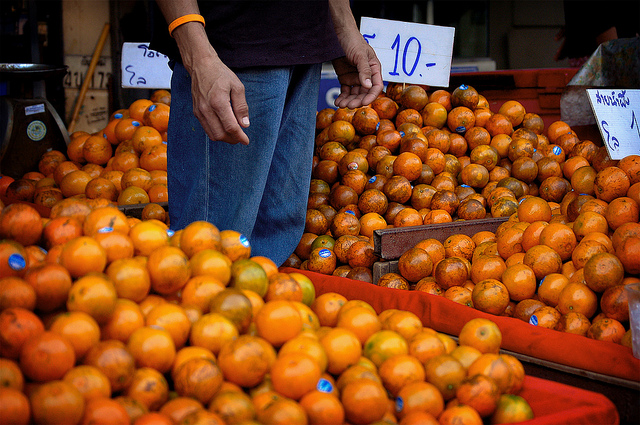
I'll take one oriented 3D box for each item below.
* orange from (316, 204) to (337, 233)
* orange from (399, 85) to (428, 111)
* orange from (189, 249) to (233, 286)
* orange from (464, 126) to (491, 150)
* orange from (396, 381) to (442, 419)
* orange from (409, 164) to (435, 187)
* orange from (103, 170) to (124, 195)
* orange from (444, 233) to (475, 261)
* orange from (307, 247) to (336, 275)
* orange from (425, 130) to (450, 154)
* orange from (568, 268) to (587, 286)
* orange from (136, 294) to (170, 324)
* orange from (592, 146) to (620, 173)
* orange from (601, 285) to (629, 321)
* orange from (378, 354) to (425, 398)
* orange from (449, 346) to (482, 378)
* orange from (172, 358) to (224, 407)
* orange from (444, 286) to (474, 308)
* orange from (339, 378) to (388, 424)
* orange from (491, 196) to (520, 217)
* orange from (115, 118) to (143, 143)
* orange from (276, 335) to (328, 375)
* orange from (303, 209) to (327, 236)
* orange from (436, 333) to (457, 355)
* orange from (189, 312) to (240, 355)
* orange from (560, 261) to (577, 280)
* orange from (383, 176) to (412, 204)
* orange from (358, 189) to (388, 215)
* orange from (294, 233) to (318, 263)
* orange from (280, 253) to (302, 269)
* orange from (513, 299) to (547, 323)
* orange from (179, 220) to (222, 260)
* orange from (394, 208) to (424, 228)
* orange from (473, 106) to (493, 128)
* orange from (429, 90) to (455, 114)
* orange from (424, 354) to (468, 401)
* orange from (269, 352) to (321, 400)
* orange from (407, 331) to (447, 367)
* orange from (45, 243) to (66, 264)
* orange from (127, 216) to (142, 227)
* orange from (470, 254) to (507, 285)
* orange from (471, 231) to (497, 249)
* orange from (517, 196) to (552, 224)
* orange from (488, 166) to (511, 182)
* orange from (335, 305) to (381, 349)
[{"bbox_3d":[0.047,0.021,3.551,0.131,0.168,0.136,1,-4,5],"label":"orange"},{"bbox_3d":[0.750,-0.913,4.335,0.209,0.211,0.194,-4,5,-30],"label":"orange"},{"bbox_3d":[-0.410,0.199,2.084,0.128,0.136,0.156,4,-30,18],"label":"orange"},{"bbox_3d":[1.224,-0.585,4.098,0.165,0.180,0.186,-2,45,19],"label":"orange"},{"bbox_3d":[0.321,0.604,1.721,0.115,0.122,0.119,-2,11,-7],"label":"orange"},{"bbox_3d":[0.742,-0.257,3.838,0.157,0.166,0.163,-2,0,18],"label":"orange"},{"bbox_3d":[-1.470,-0.216,3.835,0.148,0.179,0.147,-18,5,-32],"label":"orange"},{"bbox_3d":[0.817,0.217,3.154,0.143,0.157,0.148,14,-20,-22],"label":"orange"},{"bbox_3d":[0.012,0.290,3.261,0.178,0.138,0.173,8,19,5],"label":"orange"},{"bbox_3d":[0.898,-0.544,4.083,0.160,0.179,0.155,-3,28,-16],"label":"orange"},{"bbox_3d":[1.291,0.325,2.644,0.068,0.072,0.088,0,50,3],"label":"orange"},{"bbox_3d":[-0.620,0.344,1.934,0.097,0.086,0.082,-1,7,-32],"label":"orange"},{"bbox_3d":[1.827,-0.349,3.424,0.132,0.169,0.134,-2,-1,-9],"label":"orange"},{"bbox_3d":[1.389,0.429,2.471,0.144,0.178,0.147,4,19,31],"label":"orange"},{"bbox_3d":[0.292,0.590,1.842,0.149,0.186,0.156,2,-11,23],"label":"orange"},{"bbox_3d":[0.522,0.522,1.873,0.083,0.102,0.088,-4,51,8],"label":"orange"},{"bbox_3d":[-0.397,0.551,1.763,0.147,0.138,0.148,16,41,-27],"label":"orange"},{"bbox_3d":[0.734,0.436,2.766,0.100,0.110,0.110,-1,2,-12],"label":"orange"},{"bbox_3d":[0.143,0.599,1.743,0.137,0.141,0.130,-1,7,2],"label":"orange"},{"bbox_3d":[1.222,-0.033,3.484,0.137,0.137,0.140,-34,24,37],"label":"orange"},{"bbox_3d":[-1.548,-0.680,4.280,0.181,0.195,0.196,-31,18,-10],"label":"orange"},{"bbox_3d":[-0.058,0.509,1.846,0.140,0.150,0.144,10,-16,-5],"label":"orange"},{"bbox_3d":[-0.030,0.070,3.475,0.146,0.181,0.148,0,2,35],"label":"orange"},{"bbox_3d":[0.498,0.499,2.039,0.072,0.090,0.075,-2,4,-11],"label":"orange"},{"bbox_3d":[-0.366,0.415,1.838,0.162,0.143,0.143,12,-27,-9],"label":"orange"},{"bbox_3d":[1.289,0.307,2.745,0.073,0.041,0.074,-33,36,13],"label":"orange"},{"bbox_3d":[0.527,-0.151,3.714,0.176,0.216,0.175,-21,19,0],"label":"orange"},{"bbox_3d":[0.364,-0.074,3.524,0.162,0.166,0.158,-3,6,-2],"label":"orange"},{"bbox_3d":[-0.085,0.218,3.450,0.158,0.201,0.162,6,8,1],"label":"orange"},{"bbox_3d":[-0.178,0.318,3.393,0.099,0.058,0.085,-27,-25,32],"label":"orange"},{"bbox_3d":[1.049,0.516,2.635,0.124,0.109,0.110,-19,-21,29],"label":"orange"},{"bbox_3d":[-0.481,0.088,2.122,0.165,0.151,0.144,-3,6,-18],"label":"orange"},{"bbox_3d":[0.574,0.041,3.437,0.130,0.140,0.144,-12,33,39],"label":"orange"},{"bbox_3d":[1.296,-0.763,4.284,0.158,0.202,0.162,-3,2,-6],"label":"orange"},{"bbox_3d":[1.021,-0.942,4.371,0.187,0.199,0.231,4,34,26],"label":"orange"},{"bbox_3d":[0.408,0.578,1.859,0.136,0.137,0.163,6,46,-14],"label":"orange"},{"bbox_3d":[-0.079,0.529,1.771,0.136,0.115,0.149,-5,4,-6],"label":"orange"},{"bbox_3d":[0.388,0.476,1.966,0.129,0.163,0.136,-6,19,24],"label":"orange"},{"bbox_3d":[-1.001,0.155,2.010,0.075,0.094,0.076,6,2,-14],"label":"orange"},{"bbox_3d":[-0.867,0.042,2.461,0.036,0.047,0.039,1,8,12],"label":"orange"},{"bbox_3d":[0.924,0.304,2.933,0.192,0.202,0.196,2,20,24],"label":"orange"},{"bbox_3d":[0.988,0.167,3.198,0.095,0.120,0.098,-3,-2,27],"label":"orange"},{"bbox_3d":[1.285,-0.016,3.191,0.161,0.167,0.153,1,24,-44],"label":"orange"},{"bbox_3d":[1.312,-0.283,3.877,0.114,0.126,0.125,11,45,31],"label":"orange"},{"bbox_3d":[0.138,0.428,2.016,0.133,0.164,0.136,2,8,-8],"label":"orange"}]
